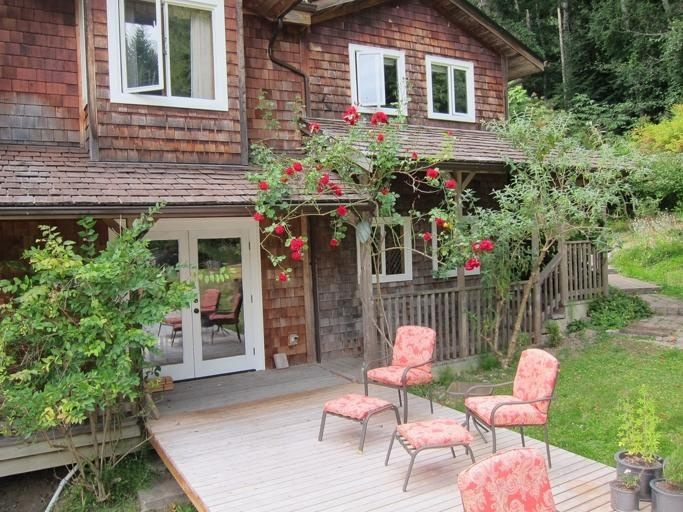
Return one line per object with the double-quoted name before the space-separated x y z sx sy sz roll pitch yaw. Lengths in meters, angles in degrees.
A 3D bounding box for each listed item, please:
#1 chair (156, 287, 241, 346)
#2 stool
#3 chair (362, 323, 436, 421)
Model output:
"chair" -2.576 1.122 11.054 1.185 0.889 0.849 2 -2 -36
"stool" 0.848 2.649 7.595 0.853 0.521 1.599 -7 8 -26
"chair" 0.900 1.764 9.086 0.939 1.373 0.892 1 -1 39
